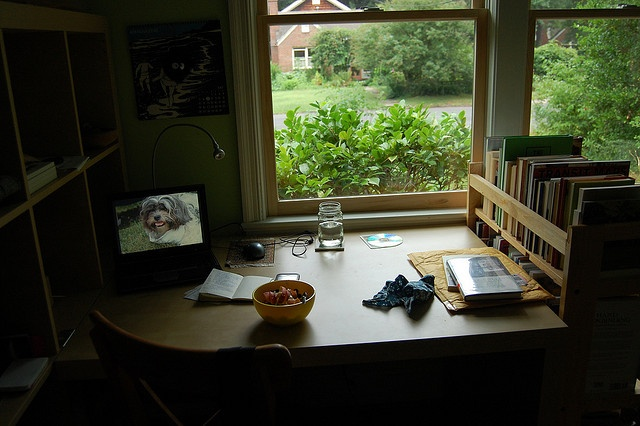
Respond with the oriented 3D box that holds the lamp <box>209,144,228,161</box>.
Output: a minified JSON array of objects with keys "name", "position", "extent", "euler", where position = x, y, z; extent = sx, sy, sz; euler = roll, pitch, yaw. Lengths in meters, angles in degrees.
[{"name":"lamp","position":[-0.516,-0.304,2.420],"extent":[0.068,0.046,0.113],"euler":[-4,30,-13]}]

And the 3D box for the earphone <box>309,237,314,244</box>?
[{"name":"earphone","position":[-0.048,0.152,2.569],"extent":[0.014,0.041,0.039],"euler":[1,54,19]}]

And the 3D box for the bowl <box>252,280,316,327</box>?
[{"name":"bowl","position":[-0.165,0.377,1.966],"extent":[0.265,0.101,0.259],"euler":[1,20,0]}]

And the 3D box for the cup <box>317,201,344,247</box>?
[{"name":"cup","position":[0.059,0.064,2.549],"extent":[0.147,0.230,0.140],"euler":[-3,7,0]}]

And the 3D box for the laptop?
[{"name":"laptop","position":[-0.737,0.114,2.179],"extent":[0.481,0.363,0.364],"euler":[-9,22,-23]}]
